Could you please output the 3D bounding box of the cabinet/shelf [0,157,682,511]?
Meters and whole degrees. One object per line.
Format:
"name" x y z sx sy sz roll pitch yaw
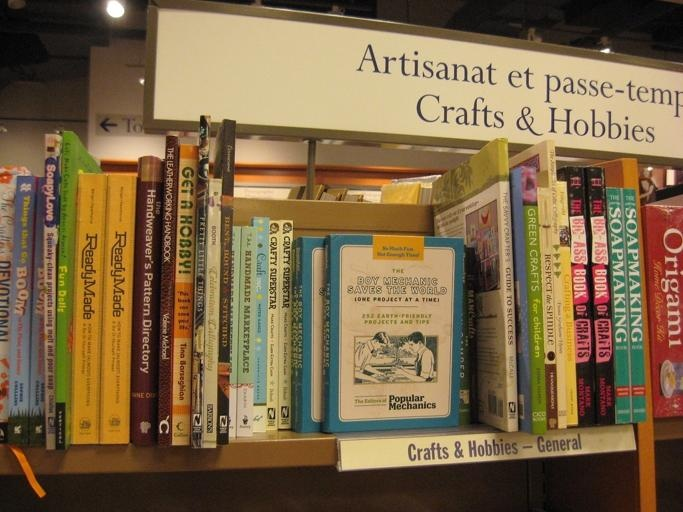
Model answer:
"cabinet/shelf" -0.012 0.198 1.818 0.919 0.300 0.882 3 73 -11
